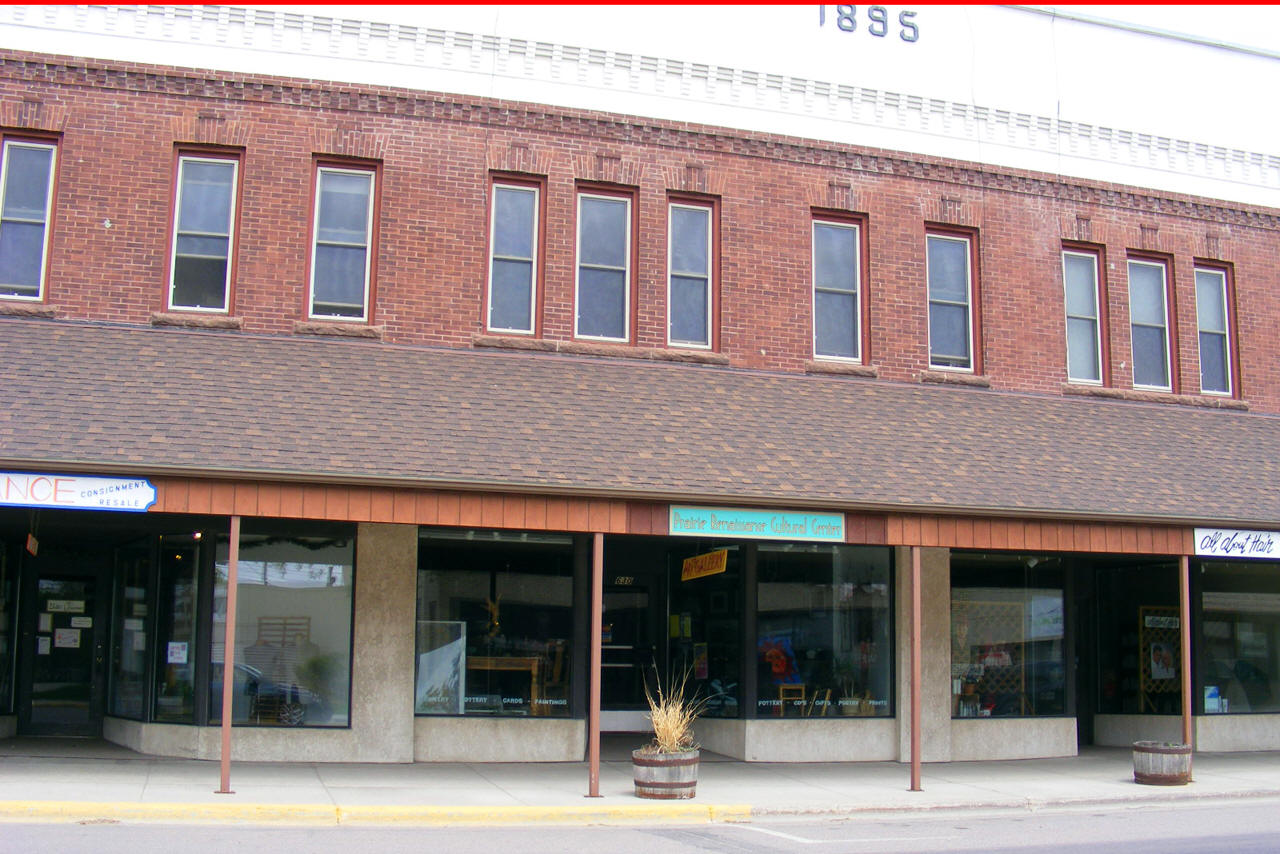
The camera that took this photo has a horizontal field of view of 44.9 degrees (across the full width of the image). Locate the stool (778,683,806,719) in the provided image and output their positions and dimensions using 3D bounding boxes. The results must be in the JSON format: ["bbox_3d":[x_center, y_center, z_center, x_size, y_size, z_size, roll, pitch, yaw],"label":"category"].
[{"bbox_3d":[2.617,4.780,26.926,0.576,0.680,0.309,3,-9,-10],"label":"stool"}]

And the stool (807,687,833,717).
[{"bbox_3d":[3.129,4.826,27.015,0.408,0.593,0.150,10,-7,-6],"label":"stool"}]

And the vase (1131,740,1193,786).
[{"bbox_3d":[8.524,5.488,25.302,0.731,0.465,0.730,0,-4,21],"label":"vase"}]

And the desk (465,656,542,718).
[{"bbox_3d":[-2.372,4.389,26.039,1.070,0.888,0.408,0,-3,-2],"label":"desk"}]
